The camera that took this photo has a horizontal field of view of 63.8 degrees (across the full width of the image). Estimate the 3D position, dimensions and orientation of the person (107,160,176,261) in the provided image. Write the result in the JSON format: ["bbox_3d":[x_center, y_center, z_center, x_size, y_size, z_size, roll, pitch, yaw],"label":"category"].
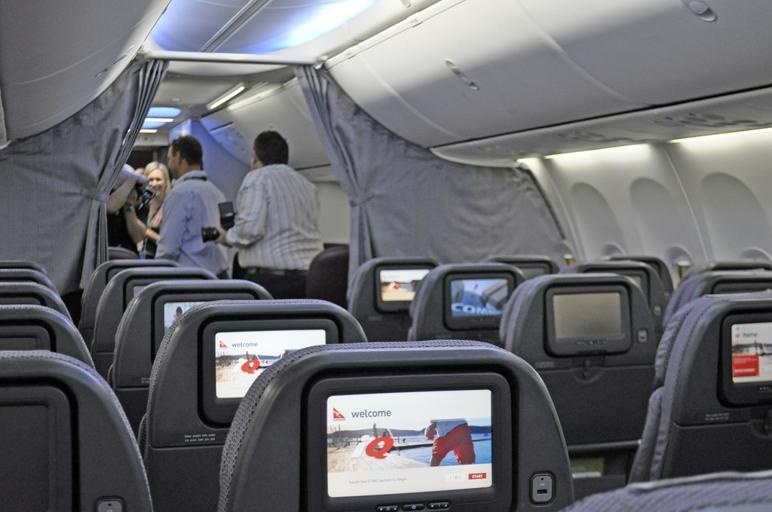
[{"bbox_3d":[-3.234,-0.581,8.061,0.901,1.250,0.383,23,31,13],"label":"person"}]

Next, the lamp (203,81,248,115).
[{"bbox_3d":[-3.047,-3.020,11.755,0.105,0.217,1.436,2,-11,-43],"label":"lamp"}]

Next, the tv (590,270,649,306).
[{"bbox_3d":[1.266,0.175,3.385,0.194,0.309,0.163,4,7,41],"label":"tv"}]

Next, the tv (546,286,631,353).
[{"bbox_3d":[1.041,0.316,3.224,0.347,0.269,0.047,-1,2,-20],"label":"tv"}]
